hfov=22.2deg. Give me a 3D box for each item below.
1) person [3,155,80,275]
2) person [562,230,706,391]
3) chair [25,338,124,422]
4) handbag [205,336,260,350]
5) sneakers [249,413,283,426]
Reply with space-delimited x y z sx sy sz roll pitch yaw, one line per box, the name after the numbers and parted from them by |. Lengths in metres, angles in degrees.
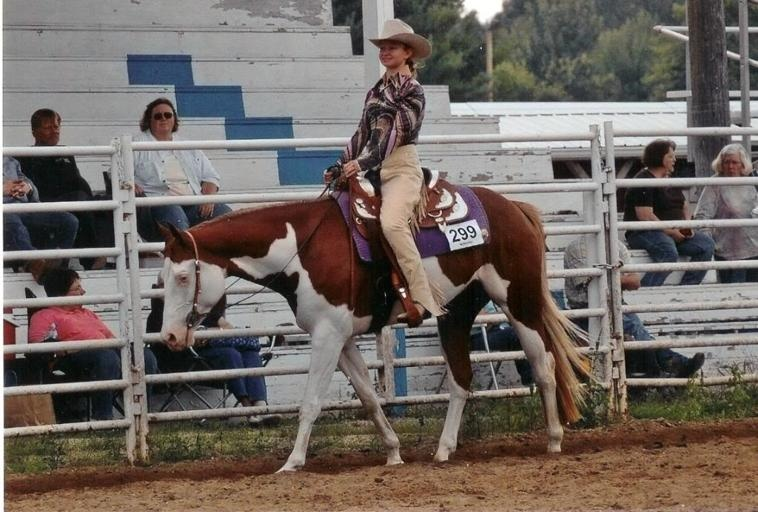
-4.798 -0.567 27.014 0.998 1.683 0.694 -5 1 -11 | person
3.520 0.759 26.957 0.411 2.046 1.066 -11 -10 30 | person
-4.090 1.630 26.388 1.160 1.076 0.546 -4 1 19 | chair
-2.015 1.193 26.828 0.474 0.159 0.305 4 -6 -22 | handbag
-1.600 2.257 26.917 0.307 0.136 0.246 0 -2 -7 | sneakers
